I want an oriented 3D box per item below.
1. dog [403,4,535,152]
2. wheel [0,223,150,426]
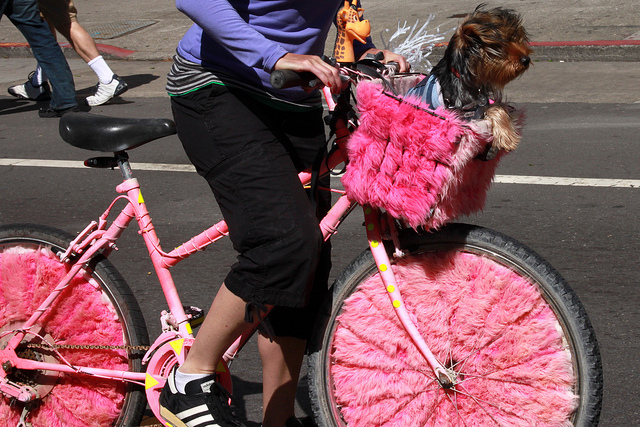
[{"bbox_3d":[0.651,-0.578,2.715,0.484,0.431,0.403,16,44,27],"label":"dog"},{"bbox_3d":[-1.299,0.570,3.284,0.786,0.828,0.778,-5,38,4],"label":"wheel"}]
